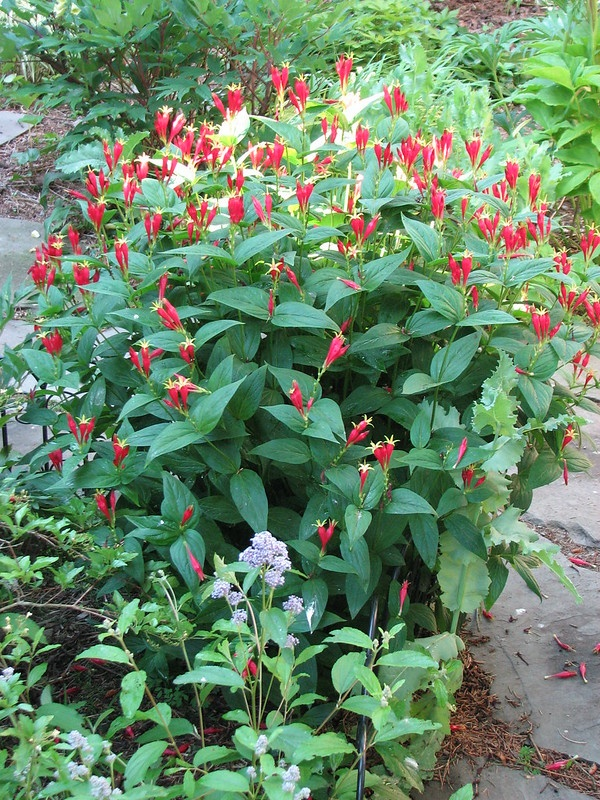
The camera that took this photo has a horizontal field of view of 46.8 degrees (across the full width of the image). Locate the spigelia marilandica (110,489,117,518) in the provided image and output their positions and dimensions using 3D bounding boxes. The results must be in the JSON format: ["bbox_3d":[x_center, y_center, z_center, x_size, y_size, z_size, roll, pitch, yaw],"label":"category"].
[{"bbox_3d":[-0.466,0.254,1.728,0.021,0.080,0.023,1,6,-7],"label":"spigelia marilandica"}]
